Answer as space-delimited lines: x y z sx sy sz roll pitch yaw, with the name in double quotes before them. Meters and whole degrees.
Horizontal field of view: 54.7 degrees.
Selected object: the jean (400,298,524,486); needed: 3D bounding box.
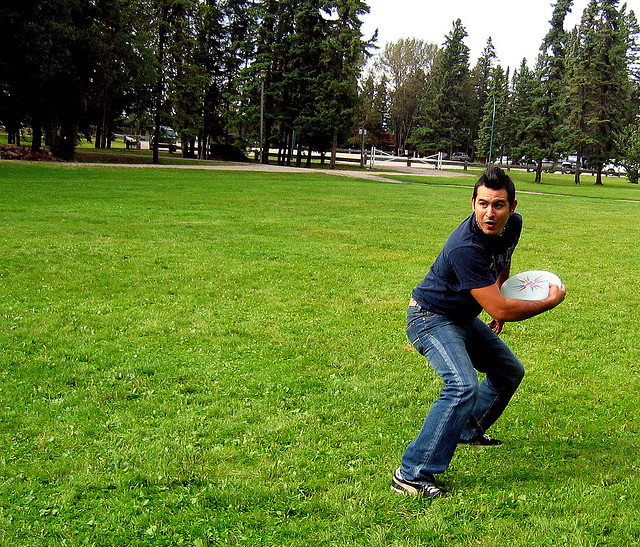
"jean" 1.335 1.153 6.137 0.797 1.568 1.498 14 18 40
